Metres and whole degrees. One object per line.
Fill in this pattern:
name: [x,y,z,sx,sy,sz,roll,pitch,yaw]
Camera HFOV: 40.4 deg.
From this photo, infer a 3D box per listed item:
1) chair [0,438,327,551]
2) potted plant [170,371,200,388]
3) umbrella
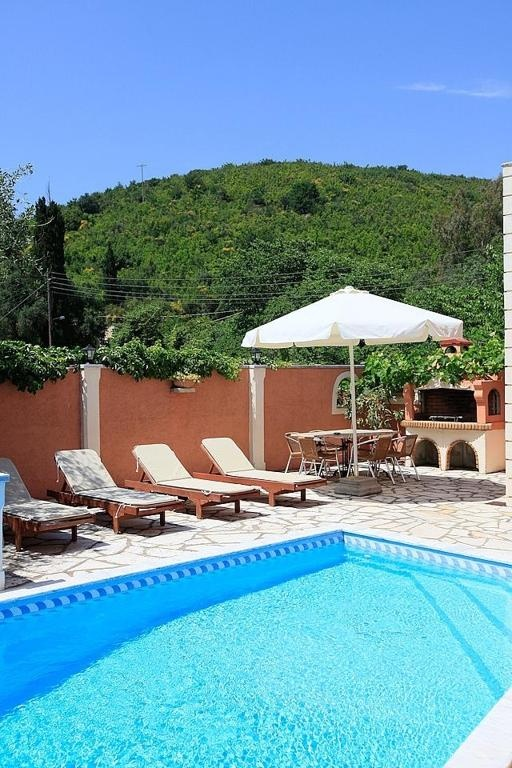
chair: [-1.523,1.229,7.660,2.696,0.876,1.571,-3,6,-44]
potted plant: [-1.075,-0.061,10.417,0.424,0.248,0.190,0,4,-14]
umbrella: [1.274,0.016,8.937,2.304,2.625,1.646,4,5,42]
